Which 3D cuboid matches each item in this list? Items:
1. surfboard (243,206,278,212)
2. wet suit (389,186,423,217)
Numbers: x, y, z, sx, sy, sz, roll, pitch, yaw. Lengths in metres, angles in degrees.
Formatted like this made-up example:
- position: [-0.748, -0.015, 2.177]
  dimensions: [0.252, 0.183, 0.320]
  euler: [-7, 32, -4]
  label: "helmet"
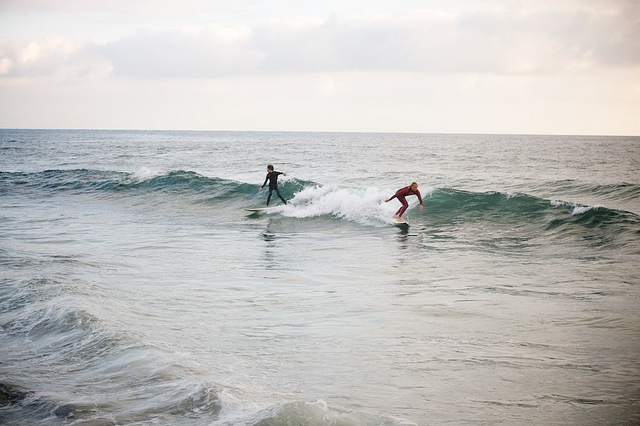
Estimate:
- position: [-2.108, -0.101, 21.904]
  dimensions: [1.029, 0.190, 0.509]
  euler: [1, 11, 3]
  label: "surfboard"
- position: [2.820, -0.323, 20.234]
  dimensions: [0.822, 1.015, 0.922]
  euler: [18, 27, 37]
  label: "wet suit"
